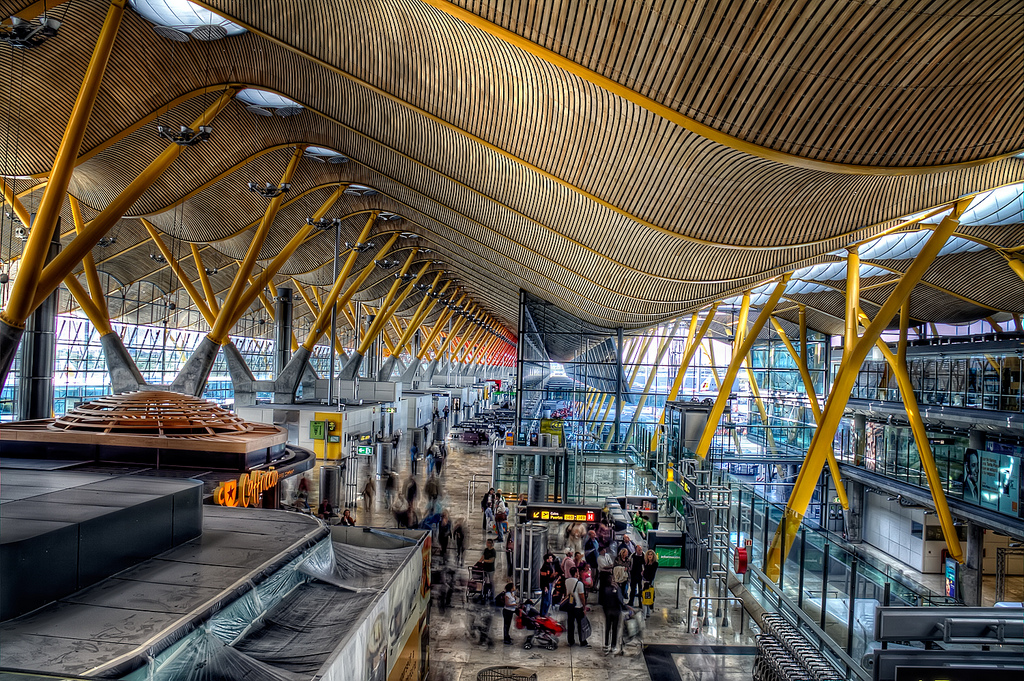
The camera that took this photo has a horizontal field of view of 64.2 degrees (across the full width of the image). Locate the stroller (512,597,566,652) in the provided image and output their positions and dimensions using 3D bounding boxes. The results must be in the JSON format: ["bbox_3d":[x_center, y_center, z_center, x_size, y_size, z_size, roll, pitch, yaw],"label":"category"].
[{"bbox_3d":[0.674,7.189,20.666,1.195,1.294,0.984,-2,-4,8],"label":"stroller"}]

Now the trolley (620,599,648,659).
[{"bbox_3d":[3.131,7.536,21.224,0.753,1.415,0.893,3,-2,1],"label":"trolley"}]

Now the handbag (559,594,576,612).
[{"bbox_3d":[1.460,6.763,20.991,0.398,0.554,0.222,-6,-25,28],"label":"handbag"}]

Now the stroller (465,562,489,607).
[{"bbox_3d":[-0.963,6.773,22.833,0.623,1.126,1.099,2,2,4],"label":"stroller"}]

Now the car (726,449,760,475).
[{"bbox_3d":[11.801,6.327,41.577,2.354,0.929,0.910,3,6,-40],"label":"car"}]

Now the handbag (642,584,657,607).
[{"bbox_3d":[3.774,7.125,22.868,0.263,0.769,0.388,8,5,21],"label":"handbag"}]
